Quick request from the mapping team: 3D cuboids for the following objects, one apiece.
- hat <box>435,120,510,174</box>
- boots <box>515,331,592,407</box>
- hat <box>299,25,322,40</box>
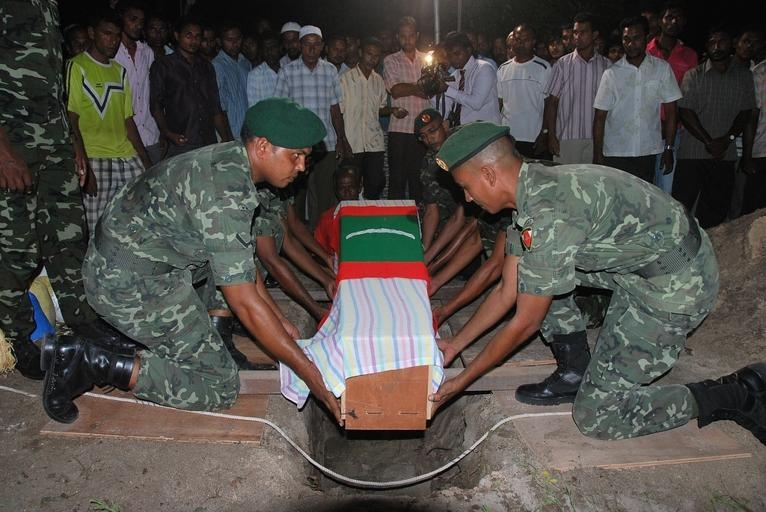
[{"bbox_3d":[0.542,-0.706,3.979,0.356,0.147,0.311,-26,9,0],"label":"hat"},{"bbox_3d":[1.089,0.814,4.597,0.697,0.559,0.315,-1,11,3],"label":"boots"},{"bbox_3d":[-0.789,-2.362,6.810,0.183,0.106,0.265,-2,17,-10],"label":"hat"}]
